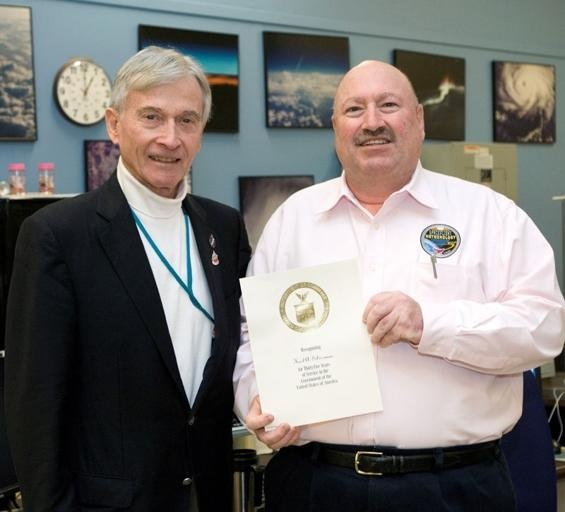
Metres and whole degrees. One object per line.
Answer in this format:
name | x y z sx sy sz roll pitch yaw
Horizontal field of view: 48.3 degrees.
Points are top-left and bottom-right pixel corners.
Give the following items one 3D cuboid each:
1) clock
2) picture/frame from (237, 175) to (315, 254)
clock | -1.162 -0.970 3.710 0.310 0.412 0.052 -2 -9 -22
picture/frame | -0.031 -0.290 4.315 0.482 0.567 0.028 -2 25 2
